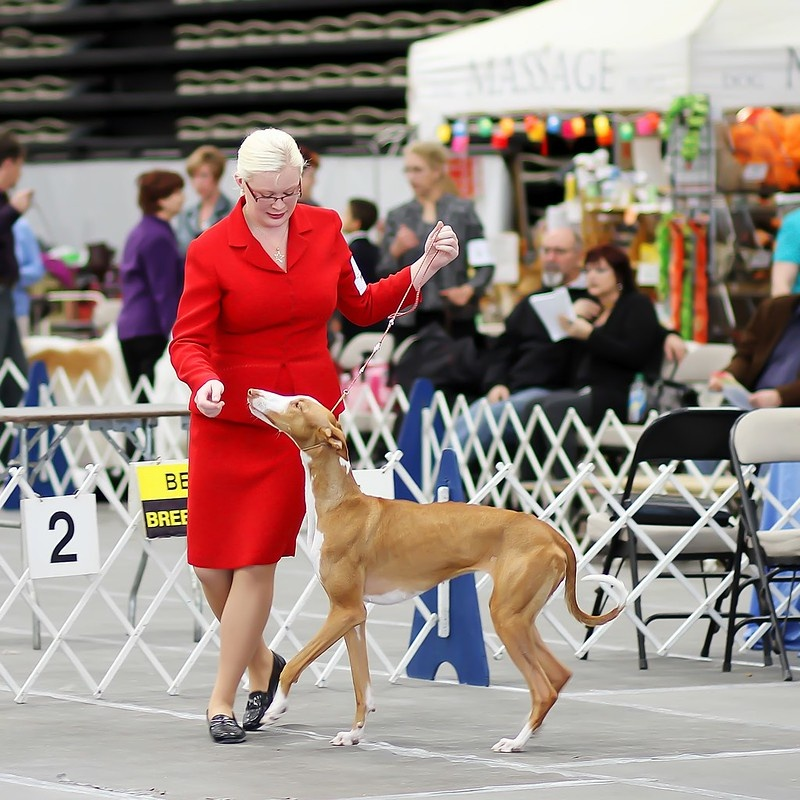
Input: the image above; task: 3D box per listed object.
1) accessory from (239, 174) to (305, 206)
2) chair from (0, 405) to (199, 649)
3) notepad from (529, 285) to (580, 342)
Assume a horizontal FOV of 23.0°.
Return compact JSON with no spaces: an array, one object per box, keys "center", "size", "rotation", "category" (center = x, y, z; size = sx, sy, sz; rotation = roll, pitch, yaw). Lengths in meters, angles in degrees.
[{"center":[-0.459,-0.748,7.031],"size":[0.211,0.092,0.110],"rotation":[-2,10,-5],"category":"accessory"},{"center":[-1.264,0.577,9.707],"size":[1.310,1.273,1.394],"rotation":[-2,5,-12],"category":"chair"},{"center":[0.851,-0.455,10.749],"size":[0.288,0.272,0.069],"rotation":[-8,29,38],"category":"notepad"}]
